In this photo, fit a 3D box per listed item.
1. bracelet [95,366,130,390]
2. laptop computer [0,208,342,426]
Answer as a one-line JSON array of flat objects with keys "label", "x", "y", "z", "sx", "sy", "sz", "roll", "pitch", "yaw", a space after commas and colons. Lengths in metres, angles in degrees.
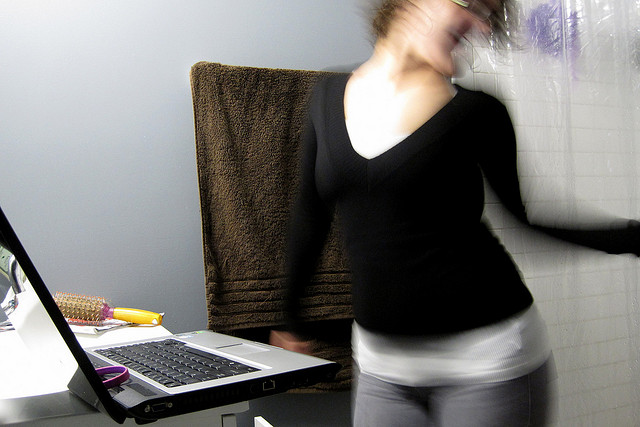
[{"label": "bracelet", "x": -0.353, "y": 0.274, "z": 0.875, "sx": 0.052, "sy": 0.025, "sz": 0.043, "roll": -7, "pitch": 7, "yaw": -23}, {"label": "laptop computer", "x": -0.292, "y": 0.207, "z": 0.956, "sx": 0.456, "sy": 0.272, "sz": 0.448, "roll": -5, "pitch": 3, "yaw": -26}]
